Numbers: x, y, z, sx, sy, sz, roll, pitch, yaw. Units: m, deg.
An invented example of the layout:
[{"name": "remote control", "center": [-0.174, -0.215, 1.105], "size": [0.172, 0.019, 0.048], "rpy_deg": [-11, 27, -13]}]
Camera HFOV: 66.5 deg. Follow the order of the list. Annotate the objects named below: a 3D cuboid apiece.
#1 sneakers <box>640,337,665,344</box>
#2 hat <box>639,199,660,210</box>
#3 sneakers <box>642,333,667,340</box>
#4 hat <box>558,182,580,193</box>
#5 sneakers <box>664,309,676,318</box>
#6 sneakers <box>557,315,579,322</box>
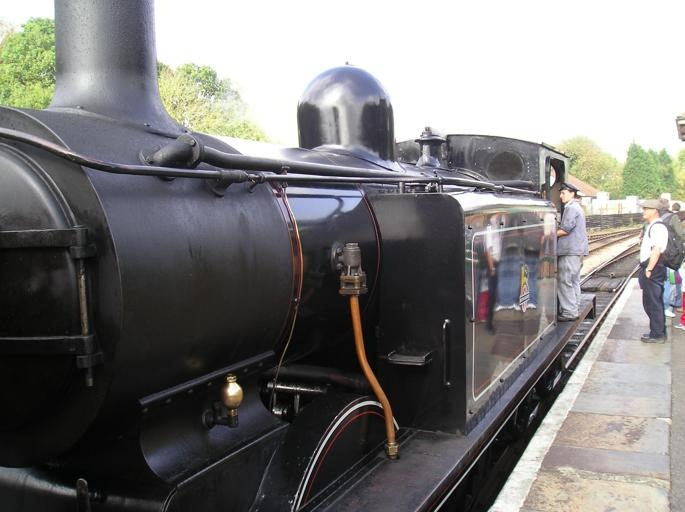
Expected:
[{"name": "sneakers", "center": [4.332, 1.160, 7.320], "size": [0.263, 0.117, 0.100], "rpy_deg": [7, 1, 21]}, {"name": "hat", "center": [4.460, -0.763, 7.530], "size": [0.306, 0.129, 0.213], "rpy_deg": [2, -1, -24]}, {"name": "sneakers", "center": [4.373, 1.144, 7.356], "size": [0.277, 0.124, 0.107], "rpy_deg": [-7, -4, 33]}, {"name": "hat", "center": [3.239, -1.007, 7.531], "size": [0.213, 0.091, 0.171], "rpy_deg": [12, 10, 41]}, {"name": "sneakers", "center": [5.595, 0.967, 8.957], "size": [0.129, 0.139, 0.316], "rpy_deg": [3, 6, 42]}, {"name": "sneakers", "center": [2.975, 0.810, 6.902], "size": [0.240, 0.118, 0.093], "rpy_deg": [-2, 0, 10]}]
